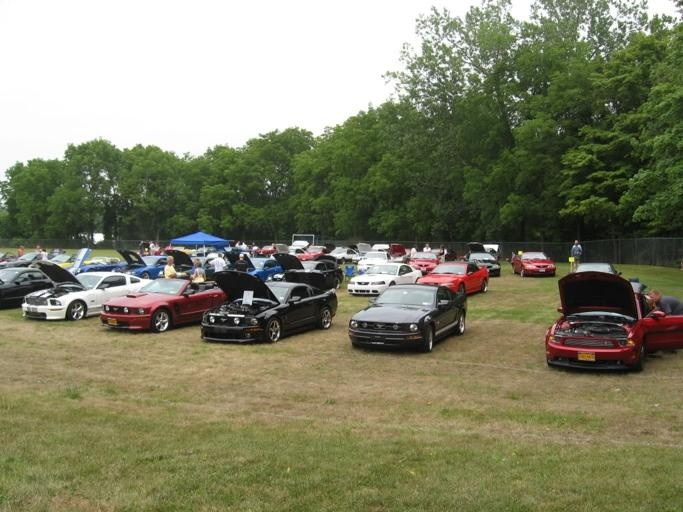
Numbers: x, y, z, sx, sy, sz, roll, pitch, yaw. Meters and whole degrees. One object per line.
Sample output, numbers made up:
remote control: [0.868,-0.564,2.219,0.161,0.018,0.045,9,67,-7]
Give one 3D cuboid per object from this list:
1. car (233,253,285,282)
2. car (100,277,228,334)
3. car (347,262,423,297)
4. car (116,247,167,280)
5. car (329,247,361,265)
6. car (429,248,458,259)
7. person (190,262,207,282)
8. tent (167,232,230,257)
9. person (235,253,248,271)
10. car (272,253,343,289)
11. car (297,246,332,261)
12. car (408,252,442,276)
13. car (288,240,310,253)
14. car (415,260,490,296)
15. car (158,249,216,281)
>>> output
car: [-4.208,0.470,29.965,1.478,0.965,3.121,4,-1,24]
car: [-5.303,1.566,19.376,1.824,1.069,3.225,1,-1,32]
car: [2.226,0.996,28.422,1.407,0.937,3.187,-2,0,30]
car: [-10.606,0.427,34.279,1.603,1.588,3.407,2,-2,32]
car: [0.165,-0.117,55.973,1.215,0.772,2.423,-1,-4,34]
car: [6.408,-0.316,38.782,1.056,0.720,2.165,0,-4,35]
person: [-5.620,0.606,24.483,0.544,0.933,0.601,10,13,28]
tent: [-12.529,-1.086,55.916,3.632,1.318,3.583,-3,7,-23]
person: [-4.719,0.282,29.598,0.818,0.447,1.189,-2,43,-6]
car: [-1.528,0.676,28.277,1.363,1.564,3.137,-3,-6,41]
car: [-2.357,-0.254,51.875,1.515,1.070,3.236,-3,-3,20]
car: [4.376,0.410,32.940,1.238,0.895,2.758,-1,-1,13]
car: [-4.164,-0.958,61.034,1.190,0.859,2.588,0,-1,3]
car: [5.016,0.870,26.948,1.504,0.908,3.152,-1,-4,34]
car: [-7.663,0.416,30.840,2.706,1.516,1.650,0,6,-11]
